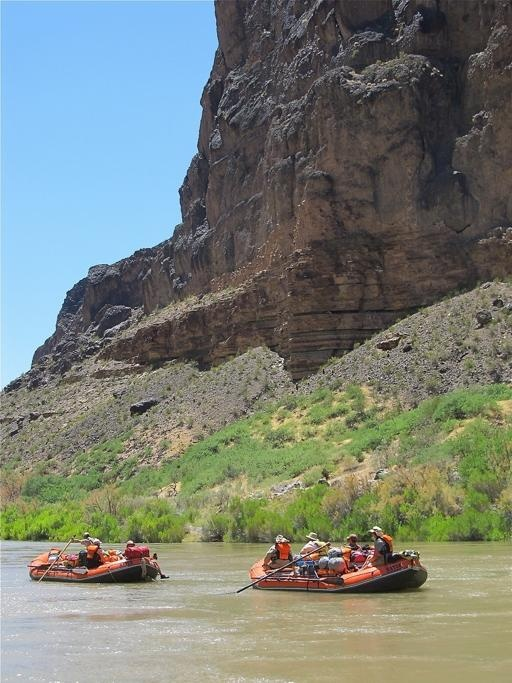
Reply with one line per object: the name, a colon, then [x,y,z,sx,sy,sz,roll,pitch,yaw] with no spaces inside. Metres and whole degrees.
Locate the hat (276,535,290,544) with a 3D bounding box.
hat: [0.553,4.550,28.953,0.332,0.179,0.252,0,-9,41]

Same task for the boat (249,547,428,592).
boat: [2.022,5.158,27.585,3.001,0.776,1.626,-7,-13,25]

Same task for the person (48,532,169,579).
person: [-3.873,5.504,30.963,2.445,0.899,1.376,-8,-12,32]

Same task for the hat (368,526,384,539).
hat: [2.631,4.127,27.202,0.244,0.160,0.341,6,20,-6]

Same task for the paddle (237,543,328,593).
paddle: [0.648,5.236,28.883,2.160,0.208,0.289,-32,28,-23]

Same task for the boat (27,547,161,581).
boat: [-4.067,5.545,30.981,3.729,1.027,0.998,-12,-13,34]
